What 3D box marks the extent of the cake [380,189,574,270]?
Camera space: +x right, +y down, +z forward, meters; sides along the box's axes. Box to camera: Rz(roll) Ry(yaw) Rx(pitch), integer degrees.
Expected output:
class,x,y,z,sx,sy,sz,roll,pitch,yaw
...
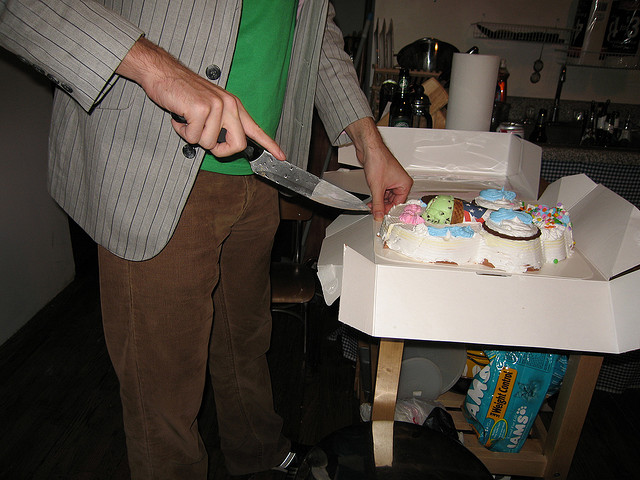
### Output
class,x,y,z,sx,sy,sz,roll,pitch,yaw
cake,0.392,-0.020,1.172,0.311,0.116,0.255,0,15,-3

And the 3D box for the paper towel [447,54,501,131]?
class,x,y,z,sx,sy,sz,roll,pitch,yaw
paper towel,0.578,-0.562,1.807,0.164,0.272,0.086,8,23,17

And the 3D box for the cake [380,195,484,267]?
class,x,y,z,sx,sy,sz,roll,pitch,yaw
cake,0.302,-0.044,1.225,0.251,0.099,0.308,15,29,28

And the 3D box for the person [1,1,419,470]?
class,x,y,z,sx,sy,sz,roll,pitch,yaw
person,-0.242,0.143,1.358,0.851,1.491,0.458,-15,27,-32

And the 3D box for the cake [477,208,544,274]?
class,x,y,z,sx,sy,sz,roll,pitch,yaw
cake,0.461,-0.002,1.165,0.151,0.140,0.158,12,18,41
